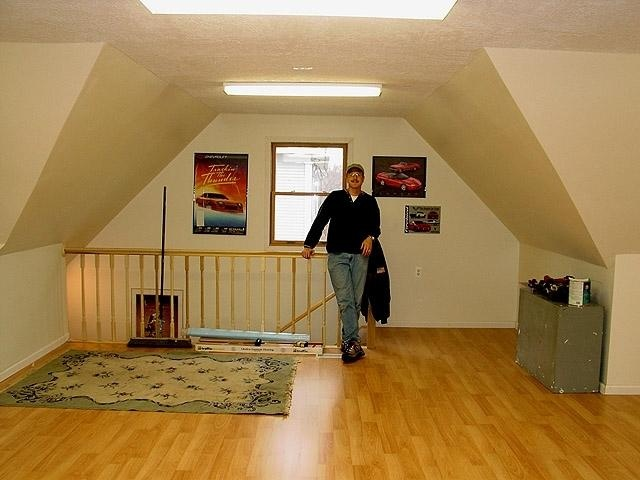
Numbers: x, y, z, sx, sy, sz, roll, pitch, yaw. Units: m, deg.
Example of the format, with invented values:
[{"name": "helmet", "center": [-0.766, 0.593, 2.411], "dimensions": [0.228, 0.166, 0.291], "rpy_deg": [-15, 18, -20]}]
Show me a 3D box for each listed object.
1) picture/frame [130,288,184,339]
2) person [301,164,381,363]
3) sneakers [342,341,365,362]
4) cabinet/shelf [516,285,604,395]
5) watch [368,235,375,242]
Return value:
[{"name": "picture/frame", "center": [-1.937, 0.869, 5.708], "dimensions": [0.738, 0.697, 0.058], "rpy_deg": [1, 3, 1]}, {"name": "person", "center": [0.211, 0.212, 4.619], "dimensions": [0.692, 1.869, 0.511], "rpy_deg": [2, 10, 6]}, {"name": "sneakers", "center": [0.325, 1.074, 4.579], "dimensions": [0.223, 0.191, 0.181], "rpy_deg": [1, 10, -3]}, {"name": "cabinet/shelf", "center": [2.152, 0.875, 4.249], "dimensions": [0.469, 0.744, 0.631], "rpy_deg": [0, 10, -7]}, {"name": "watch", "center": [0.500, -0.021, 4.575], "dimensions": [0.028, 0.039, 0.072], "rpy_deg": [2, 3, 26]}]
